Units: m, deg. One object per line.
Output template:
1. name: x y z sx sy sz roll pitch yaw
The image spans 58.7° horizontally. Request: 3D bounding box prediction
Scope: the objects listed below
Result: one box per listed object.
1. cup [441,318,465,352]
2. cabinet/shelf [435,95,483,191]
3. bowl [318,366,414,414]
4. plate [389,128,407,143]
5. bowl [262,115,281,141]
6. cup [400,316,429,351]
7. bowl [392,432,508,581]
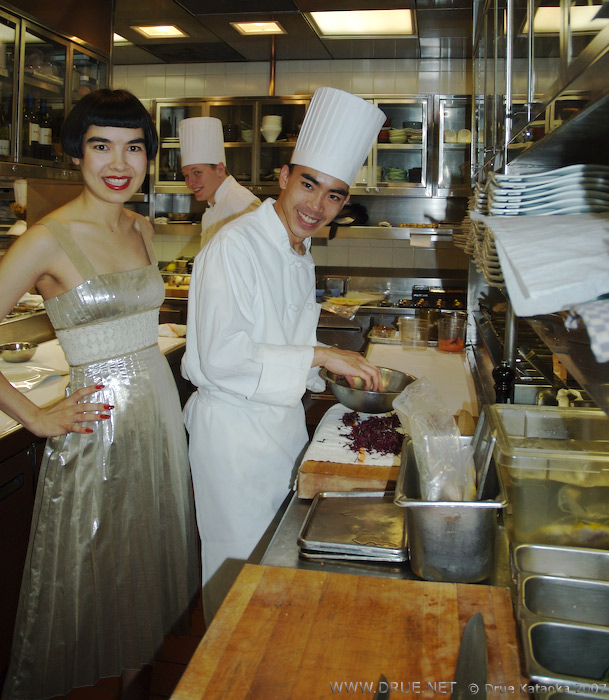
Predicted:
1. cup: 0.758 -0.074 2.945 0.182 0.174 0.178 1 1 0
2. cabinet/shelf: 1.331 -1.813 4.835 0.324 0.854 0.264 -4 4 32
3. bowl: 0.182 0.113 1.573 0.274 0.102 0.285 3 5 0
4. plate: 0.843 -1.922 4.873 0.126 0.086 0.116 0 11 2
5. bowl: -0.300 -2.053 5.071 0.231 0.231 0.222 1 2 0
6. cup: 0.609 -0.088 3.056 0.153 0.135 0.176 0 -3 2
7. bowl: 0.256 0.273 0.966 0.189 0.120 0.321 -1 8 15
